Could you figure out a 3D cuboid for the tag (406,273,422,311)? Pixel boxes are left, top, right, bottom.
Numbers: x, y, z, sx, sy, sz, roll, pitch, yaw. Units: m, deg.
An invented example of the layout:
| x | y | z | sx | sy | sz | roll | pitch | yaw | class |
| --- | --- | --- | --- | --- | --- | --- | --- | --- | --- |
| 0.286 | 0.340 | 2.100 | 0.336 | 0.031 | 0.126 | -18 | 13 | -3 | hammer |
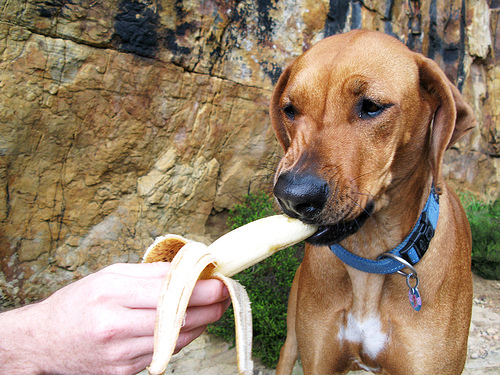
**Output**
| x | y | z | sx | sy | sz | roll | pitch | yaw | class |
| --- | --- | --- | --- | --- | --- | --- | --- | --- | --- |
| 1.286 | 0.822 | 3.497 | 0.141 | 0.293 | 0.120 | 9 | 4 | 24 | tag |
